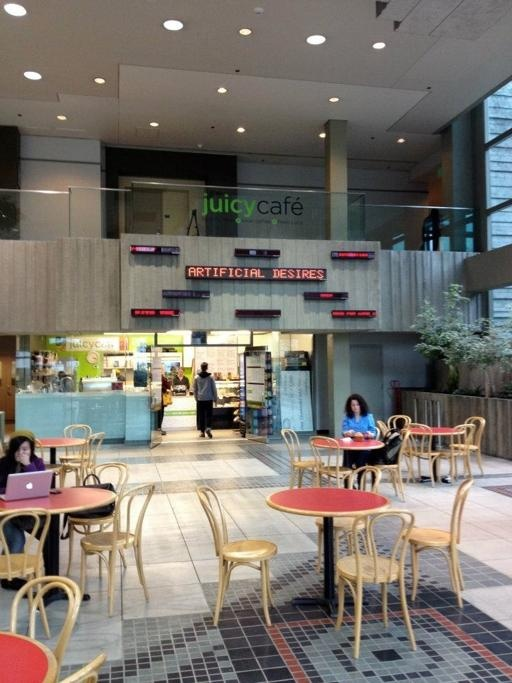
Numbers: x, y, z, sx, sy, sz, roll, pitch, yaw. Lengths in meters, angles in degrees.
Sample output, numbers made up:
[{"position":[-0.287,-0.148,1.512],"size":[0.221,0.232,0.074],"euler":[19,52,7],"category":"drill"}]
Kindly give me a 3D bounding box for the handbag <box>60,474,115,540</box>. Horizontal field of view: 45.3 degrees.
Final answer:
[{"position":[-1.255,1.326,4.859],"size":[0.354,0.471,0.358],"euler":[22,-2,-22],"category":"handbag"}]

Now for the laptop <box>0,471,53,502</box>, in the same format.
[{"position":[-1.571,1.000,4.260],"size":[0.321,0.212,0.221],"euler":[1,24,-37],"category":"laptop"}]

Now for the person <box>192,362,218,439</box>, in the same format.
[{"position":[-1.155,1.326,13.981],"size":[0.482,1.704,1.278],"euler":[-1,1,-4],"category":"person"}]

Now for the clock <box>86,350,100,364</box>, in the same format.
[{"position":[-3.519,0.365,13.308],"size":[0.252,0.276,0.454],"euler":[-1,1,-15],"category":"clock"}]

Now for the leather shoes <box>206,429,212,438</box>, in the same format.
[{"position":[-1.031,2.085,13.791],"size":[0.072,0.191,0.127],"euler":[-14,10,-37],"category":"leather shoes"}]

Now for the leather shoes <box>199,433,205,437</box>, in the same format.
[{"position":[-1.215,2.119,13.865],"size":[0.121,0.117,0.078],"euler":[3,0,24],"category":"leather shoes"}]

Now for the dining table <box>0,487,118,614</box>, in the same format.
[{"position":[-1.347,1.296,4.296],"size":[0.854,0.624,0.849],"euler":[1,-3,-7],"category":"dining table"}]

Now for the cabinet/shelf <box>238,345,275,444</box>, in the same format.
[{"position":[0.062,1.113,13.308],"size":[0.305,2.003,0.942],"euler":[-1,1,-38],"category":"cabinet/shelf"}]

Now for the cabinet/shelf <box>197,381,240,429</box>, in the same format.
[{"position":[-0.927,1.549,15.121],"size":[0.958,1.749,0.963],"euler":[-1,-2,9],"category":"cabinet/shelf"}]
